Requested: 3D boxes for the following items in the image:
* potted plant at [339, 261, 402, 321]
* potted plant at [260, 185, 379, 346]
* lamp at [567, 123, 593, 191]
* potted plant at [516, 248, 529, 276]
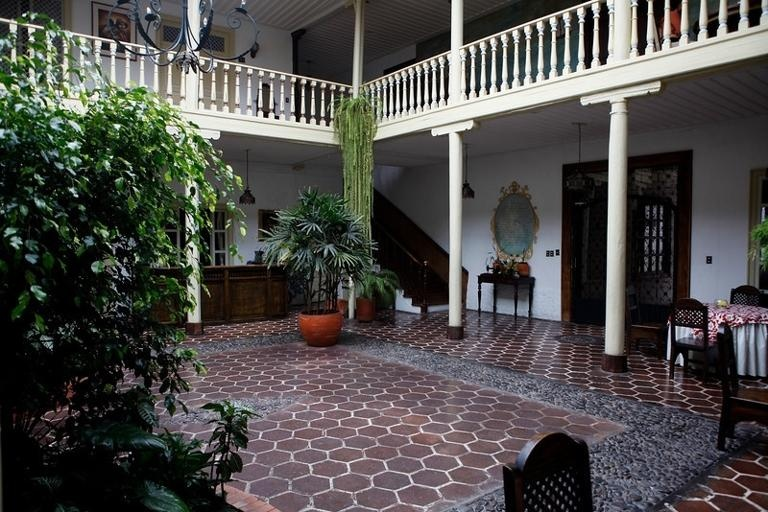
[{"bbox_3d":[-0.108,0.859,11.633,1.371,1.365,1.269,6,-6,-35],"label":"potted plant"},{"bbox_3d":[-1.039,0.232,8.642,1.618,2.639,0.876,1,1,-4],"label":"potted plant"},{"bbox_3d":[3.776,-1.795,10.024,0.443,1.170,1.852,1,1,21],"label":"lamp"},{"bbox_3d":[3.094,0.167,11.686,0.316,0.555,0.275,1,1,33],"label":"potted plant"}]
